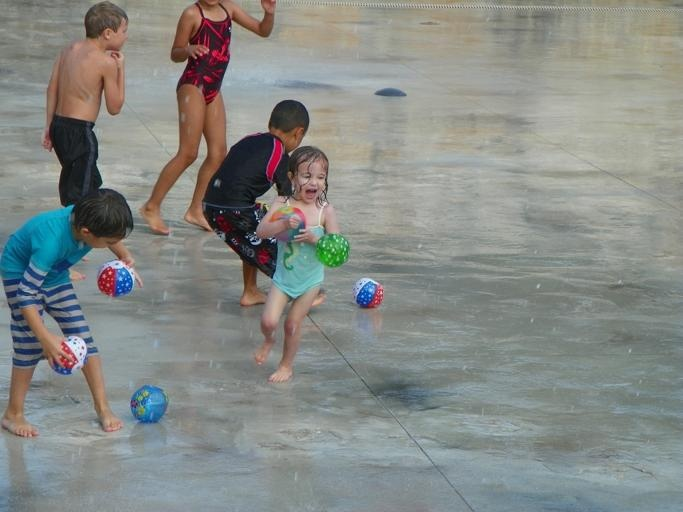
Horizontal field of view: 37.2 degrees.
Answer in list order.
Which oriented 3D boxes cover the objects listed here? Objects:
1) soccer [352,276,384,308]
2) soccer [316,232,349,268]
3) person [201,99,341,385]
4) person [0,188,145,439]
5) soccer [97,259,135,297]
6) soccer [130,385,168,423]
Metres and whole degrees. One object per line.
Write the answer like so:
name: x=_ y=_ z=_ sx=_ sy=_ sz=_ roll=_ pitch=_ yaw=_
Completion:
soccer: x=0.180 y=0.249 z=6.675 sx=0.197 sy=0.177 sz=0.186 roll=1 pitch=14 yaw=0
soccer: x=-0.056 y=-0.033 z=5.710 sx=0.177 sy=0.178 sz=0.161 roll=1 pitch=15 yaw=-2
person: x=-0.454 y=-0.194 z=6.185 sx=0.747 sy=1.464 sz=1.489 roll=-1 pitch=15 yaw=-8
person: x=-1.376 y=0.278 z=5.019 sx=0.678 sy=1.220 sz=0.448 roll=1 pitch=16 yaw=-2
soccer: x=-1.199 y=0.127 z=5.505 sx=0.225 sy=0.174 sz=0.214 roll=-10 pitch=19 yaw=-41
soccer: x=-0.983 y=0.777 z=5.222 sx=0.220 sy=0.175 sz=0.184 roll=-8 pitch=-15 yaw=6
